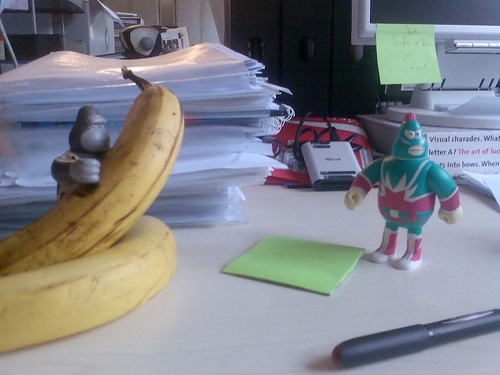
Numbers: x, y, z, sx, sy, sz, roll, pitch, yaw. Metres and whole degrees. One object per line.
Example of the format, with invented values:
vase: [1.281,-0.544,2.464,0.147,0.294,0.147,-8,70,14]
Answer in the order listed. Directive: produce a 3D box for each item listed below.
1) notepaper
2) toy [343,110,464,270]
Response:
notepaper: [0.060,0.093,0.519,0.155,0.011,0.123,7,23,22]
toy: [0.193,0.005,0.509,0.139,0.194,0.060,13,25,36]
